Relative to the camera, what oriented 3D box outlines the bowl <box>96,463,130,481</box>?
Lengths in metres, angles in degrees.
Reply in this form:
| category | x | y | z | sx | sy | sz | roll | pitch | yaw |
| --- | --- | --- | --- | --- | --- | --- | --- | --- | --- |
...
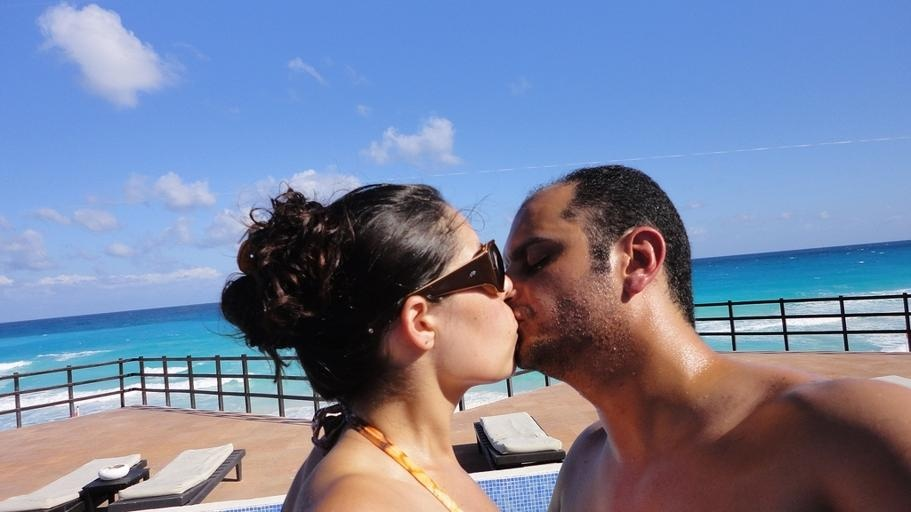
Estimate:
| category | x | y | z | sx | sy | sz | roll | pitch | yaw |
| --- | --- | --- | --- | --- | --- | --- | --- | --- | --- |
| bowl | -4.492 | 2.810 | 7.212 | 0.299 | 0.100 | 0.276 | -3 | 6 | 0 |
